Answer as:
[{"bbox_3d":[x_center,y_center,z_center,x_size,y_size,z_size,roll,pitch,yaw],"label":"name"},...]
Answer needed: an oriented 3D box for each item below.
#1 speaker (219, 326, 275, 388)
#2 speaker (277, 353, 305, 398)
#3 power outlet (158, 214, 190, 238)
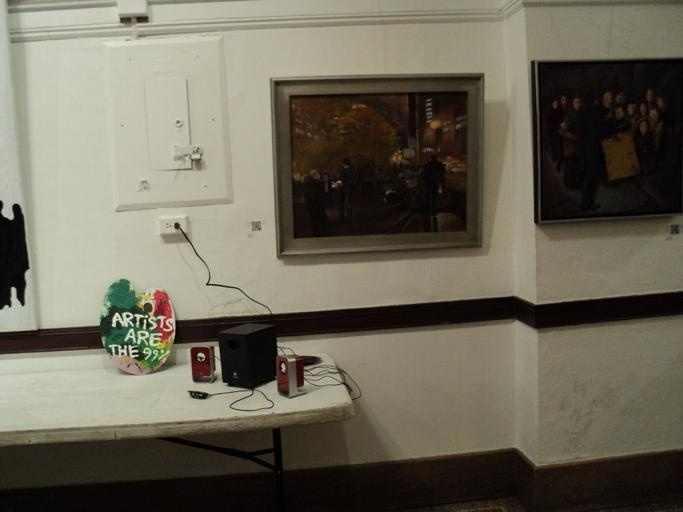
[{"bbox_3d":[-0.482,0.542,3.386,0.228,0.383,0.329,1,1,31],"label":"speaker"},{"bbox_3d":[-0.279,0.625,3.225,0.151,0.206,0.142,-4,7,0],"label":"speaker"},{"bbox_3d":[-1.000,-0.191,3.608,0.176,0.153,0.105,-1,0,-6],"label":"power outlet"}]
